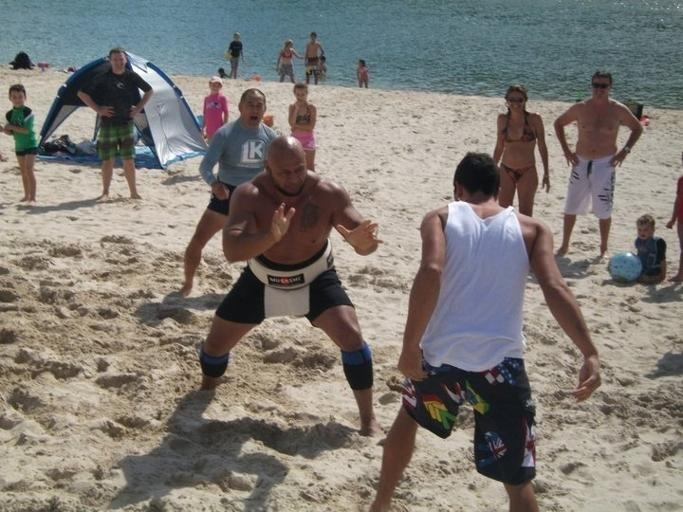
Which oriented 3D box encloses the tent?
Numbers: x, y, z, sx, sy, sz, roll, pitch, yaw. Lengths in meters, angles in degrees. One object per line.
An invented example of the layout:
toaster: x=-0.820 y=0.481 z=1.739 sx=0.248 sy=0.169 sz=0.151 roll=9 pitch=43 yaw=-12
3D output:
tent: x=-3.420 y=-2.355 z=14.444 sx=2.417 sy=1.480 sz=2.483 roll=9 pitch=13 yaw=23

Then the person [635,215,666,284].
person: x=3.753 y=-0.097 z=11.227 sx=0.390 sy=0.806 sz=0.324 roll=6 pitch=15 yaw=17

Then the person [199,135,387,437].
person: x=-0.485 y=0.271 z=8.480 sx=1.561 sy=2.708 sz=0.795 roll=-1 pitch=15 yaw=-8

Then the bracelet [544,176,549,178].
bracelet: x=2.554 y=-1.000 z=11.586 sx=0.057 sy=0.013 sz=0.058 roll=-4 pitch=14 yaw=-17

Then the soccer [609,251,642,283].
soccer: x=3.427 y=0.133 z=11.195 sx=0.384 sy=0.344 sz=0.203 roll=5 pitch=15 yaw=16

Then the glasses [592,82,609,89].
glasses: x=3.140 y=-2.076 z=11.227 sx=0.191 sy=0.080 sz=0.095 roll=4 pitch=14 yaw=12

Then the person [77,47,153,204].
person: x=-3.037 y=-1.798 z=12.520 sx=0.955 sy=2.002 sz=0.554 roll=-4 pitch=15 yaw=-21

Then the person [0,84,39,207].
person: x=-4.263 y=-1.529 z=12.295 sx=0.427 sy=1.500 sz=0.926 roll=-4 pitch=15 yaw=-18
